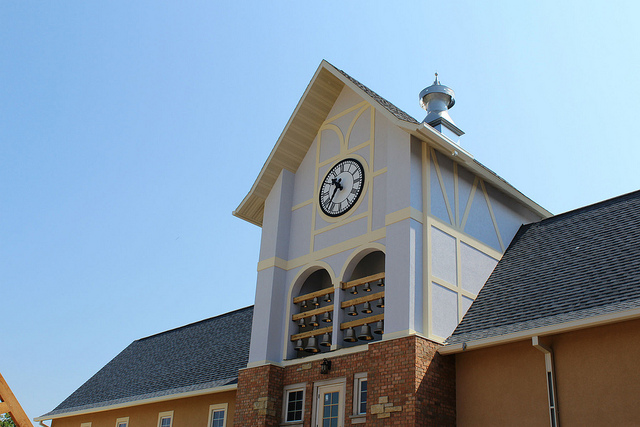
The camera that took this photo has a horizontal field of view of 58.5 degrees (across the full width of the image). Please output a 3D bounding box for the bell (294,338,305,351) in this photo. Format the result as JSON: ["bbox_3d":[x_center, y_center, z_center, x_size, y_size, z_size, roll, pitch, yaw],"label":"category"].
[{"bbox_3d":[-0.708,4.713,20.516,0.326,0.425,0.345,6,-23,-6],"label":"bell"}]

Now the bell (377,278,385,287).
[{"bbox_3d":[2.075,2.347,19.283,0.239,0.254,0.266,4,-22,-4],"label":"bell"}]

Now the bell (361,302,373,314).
[{"bbox_3d":[1.585,3.166,19.051,0.357,0.419,0.383,3,-30,0],"label":"bell"}]

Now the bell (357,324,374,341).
[{"bbox_3d":[1.518,3.927,18.720,0.457,0.522,0.486,6,-29,-7],"label":"bell"}]

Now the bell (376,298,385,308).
[{"bbox_3d":[2.037,2.968,18.821,0.266,0.298,0.267,18,-30,-26],"label":"bell"}]

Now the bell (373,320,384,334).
[{"bbox_3d":[1.944,3.709,18.653,0.274,0.382,0.424,-1,-33,2],"label":"bell"}]

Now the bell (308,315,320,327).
[{"bbox_3d":[-0.151,3.794,20.362,0.328,0.401,0.355,1,-24,14],"label":"bell"}]

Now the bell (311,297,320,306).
[{"bbox_3d":[-0.132,3.219,20.812,0.302,0.350,0.331,1,-43,7],"label":"bell"}]

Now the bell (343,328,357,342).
[{"bbox_3d":[1.063,4.073,19.075,0.383,0.480,0.419,-4,-31,12],"label":"bell"}]

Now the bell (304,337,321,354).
[{"bbox_3d":[-0.234,4.617,20.014,0.398,0.519,0.573,-7,-33,11],"label":"bell"}]

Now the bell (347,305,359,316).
[{"bbox_3d":[1.153,3.324,19.510,0.320,0.370,0.348,4,-36,3],"label":"bell"}]

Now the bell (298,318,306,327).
[{"bbox_3d":[-0.611,3.970,20.725,0.229,0.272,0.246,6,-28,-2],"label":"bell"}]

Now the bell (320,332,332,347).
[{"bbox_3d":[0.279,4.386,19.715,0.432,0.497,0.437,15,-32,-25],"label":"bell"}]
